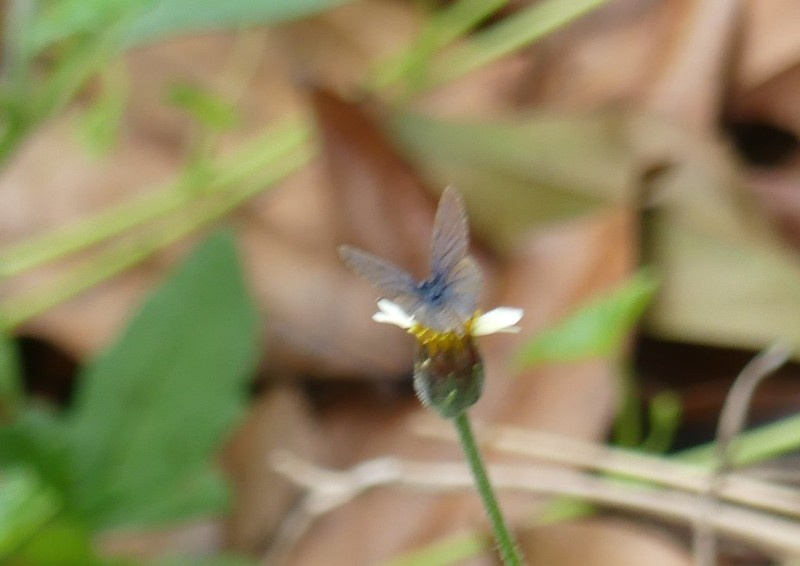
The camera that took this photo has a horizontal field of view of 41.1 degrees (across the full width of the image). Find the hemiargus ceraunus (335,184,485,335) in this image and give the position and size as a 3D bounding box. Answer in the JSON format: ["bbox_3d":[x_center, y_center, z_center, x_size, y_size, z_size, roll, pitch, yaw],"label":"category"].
[{"bbox_3d":[0.010,-0.005,0.481,0.061,0.065,0.044,-33,43,-29],"label":"hemiargus ceraunus"}]
